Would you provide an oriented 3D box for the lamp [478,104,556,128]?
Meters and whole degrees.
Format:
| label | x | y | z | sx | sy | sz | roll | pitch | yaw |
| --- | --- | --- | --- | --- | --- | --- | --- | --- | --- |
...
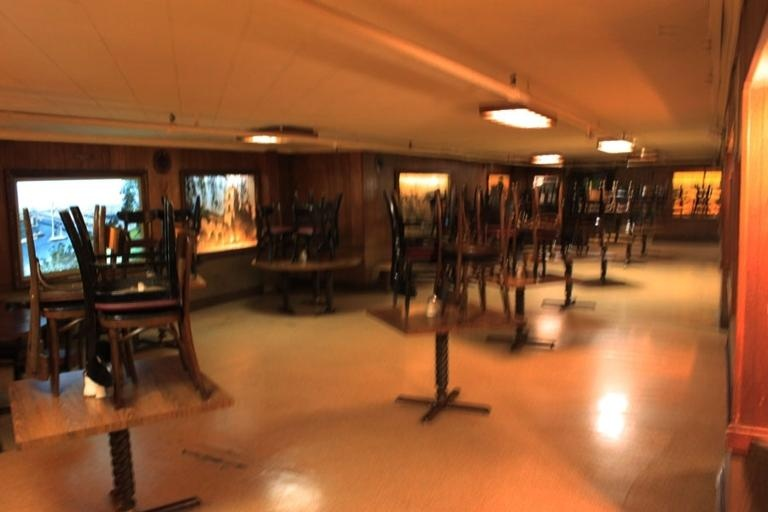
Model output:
| label | x | y | z | sx | sy | sz | roll | pitch | yaw |
| --- | --- | --- | --- | --- | --- | --- | --- | --- | --- |
| lamp | 1.201 | -1.265 | 4.715 | 0.652 | 0.180 | 0.430 | -9 | 15 | -31 |
